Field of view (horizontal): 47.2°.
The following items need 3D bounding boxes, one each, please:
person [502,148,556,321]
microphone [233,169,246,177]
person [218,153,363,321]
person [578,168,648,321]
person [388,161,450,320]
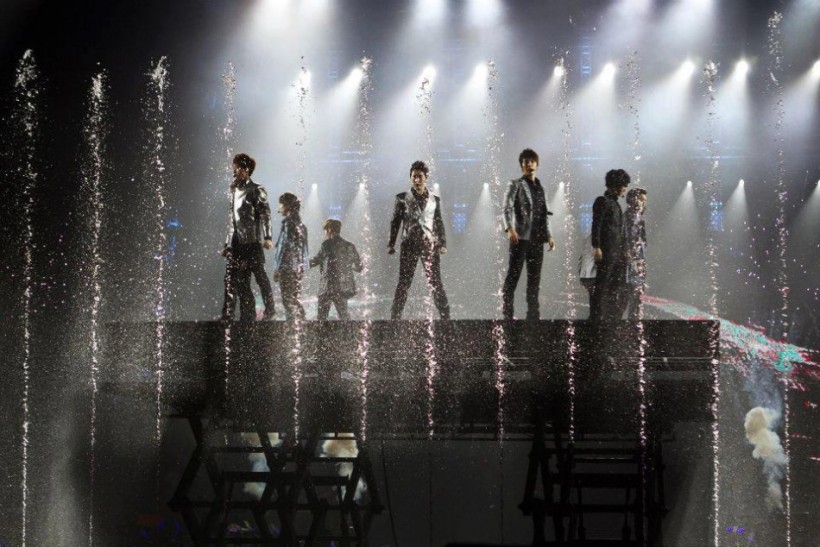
[{"bbox_3d":[1.220,-0.422,9.770,0.530,1.217,0.490,2,-1,-24],"label":"person"},{"bbox_3d":[-1.800,-1.066,9.966,0.149,0.079,0.068,2,-1,-2],"label":"microphone"},{"bbox_3d":[-1.547,-0.375,10.151,0.544,1.512,0.963,1,-1,41],"label":"person"},{"bbox_3d":[2.076,-0.313,9.873,0.405,1.567,0.313,2,-1,3],"label":"person"},{"bbox_3d":[0.096,-0.356,9.969,0.644,1.267,0.419,2,-1,-2],"label":"person"}]
